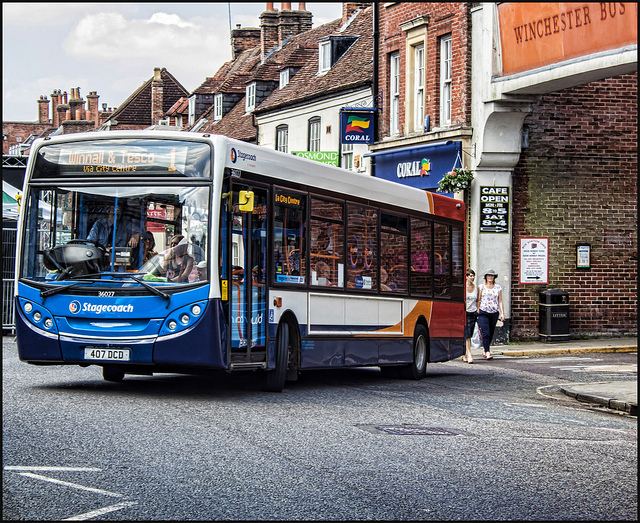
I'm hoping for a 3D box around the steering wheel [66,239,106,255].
[{"bbox_3d":[-3.029,-0.199,11.622,0.578,0.173,0.053,2,-1,23],"label":"steering wheel"}]

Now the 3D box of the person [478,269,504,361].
[{"bbox_3d":[3.921,1.190,20.619,0.555,1.561,1.005,2,-1,11],"label":"person"}]

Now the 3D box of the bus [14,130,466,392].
[{"bbox_3d":[-0.567,0.262,16.045,3.168,3.535,10.499,0,-3,26],"label":"bus"}]
